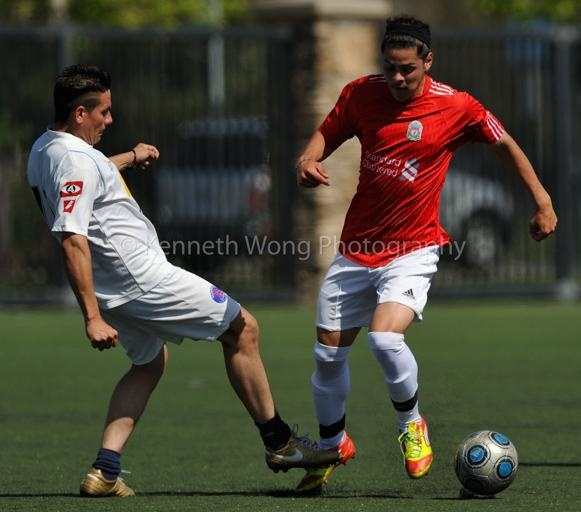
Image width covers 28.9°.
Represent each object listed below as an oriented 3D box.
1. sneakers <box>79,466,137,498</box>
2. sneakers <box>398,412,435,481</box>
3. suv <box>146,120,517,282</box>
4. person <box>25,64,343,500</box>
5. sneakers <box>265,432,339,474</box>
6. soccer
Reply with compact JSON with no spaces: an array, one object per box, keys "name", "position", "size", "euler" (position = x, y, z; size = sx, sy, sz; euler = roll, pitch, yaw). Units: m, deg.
[{"name":"sneakers","position":[-0.960,1.179,5.977],"size":[0.325,0.139,0.119],"euler":[7,-4,-39]},{"name":"sneakers","position":[0.674,0.999,6.052],"size":[0.128,0.159,0.347],"euler":[-22,30,17]},{"name":"suv","position":[1.376,-0.769,13.730],"size":[3.313,1.658,1.945],"euler":[-4,5,-13]},{"name":"person","position":[-0.677,0.275,6.027],"size":[1.287,1.882,0.688],"euler":[-3,11,-17]},{"name":"sneakers","position":[0.052,1.061,6.258],"size":[0.510,0.272,0.168],"euler":[-1,-9,-10]},{"name":"soccer","position":[1.033,1.032,5.938],"size":[0.305,0.305,0.352],"euler":[3,44,23]}]
